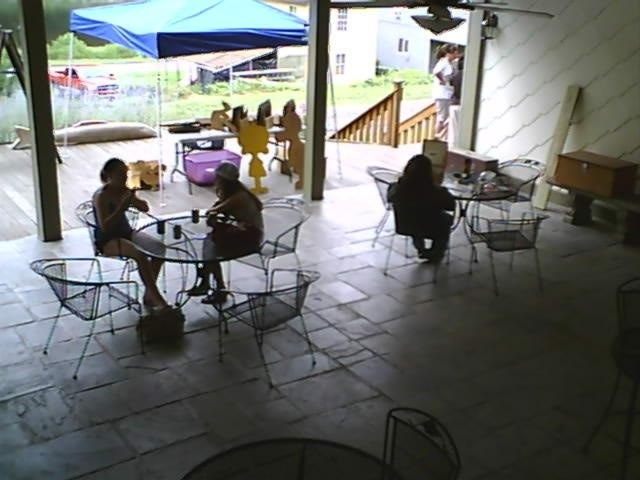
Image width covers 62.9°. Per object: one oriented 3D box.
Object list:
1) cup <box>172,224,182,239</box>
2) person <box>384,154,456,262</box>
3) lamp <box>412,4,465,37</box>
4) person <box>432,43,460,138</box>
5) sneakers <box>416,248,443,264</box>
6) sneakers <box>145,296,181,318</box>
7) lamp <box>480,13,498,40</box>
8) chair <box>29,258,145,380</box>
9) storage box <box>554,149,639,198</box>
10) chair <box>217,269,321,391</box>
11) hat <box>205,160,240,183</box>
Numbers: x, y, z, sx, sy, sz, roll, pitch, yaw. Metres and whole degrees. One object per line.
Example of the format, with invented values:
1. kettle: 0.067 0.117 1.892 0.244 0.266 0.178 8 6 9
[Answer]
1. cup: -1.379 -0.073 4.937 0.100 0.140 0.096 4 22 -2
2. person: 1.238 -0.300 6.021 0.715 1.397 0.631 -18 28 -41
3. lamp: 1.091 -1.940 4.618 0.445 0.240 0.462 1 18 0
4. person: 2.598 -3.019 10.810 0.462 1.879 0.431 5 22 9
5. sneakers: 1.401 0.203 6.477 0.264 0.171 0.086 -8 26 5
6. sneakers: -1.576 0.642 4.947 0.457 0.156 0.145 4 22 6
7. lamp: 2.955 -3.632 8.889 0.299 0.410 0.180 10 23 22
8. chair: -2.170 0.758 4.774 0.638 0.797 0.769 31 36 34
9. storage box: 3.943 -0.914 7.324 0.703 0.513 1.145 -16 29 -30
10. chair: -0.462 0.856 4.750 0.741 0.759 0.667 28 34 33
11. hat: -0.947 -0.698 5.234 0.222 0.202 0.237 0 19 -3
